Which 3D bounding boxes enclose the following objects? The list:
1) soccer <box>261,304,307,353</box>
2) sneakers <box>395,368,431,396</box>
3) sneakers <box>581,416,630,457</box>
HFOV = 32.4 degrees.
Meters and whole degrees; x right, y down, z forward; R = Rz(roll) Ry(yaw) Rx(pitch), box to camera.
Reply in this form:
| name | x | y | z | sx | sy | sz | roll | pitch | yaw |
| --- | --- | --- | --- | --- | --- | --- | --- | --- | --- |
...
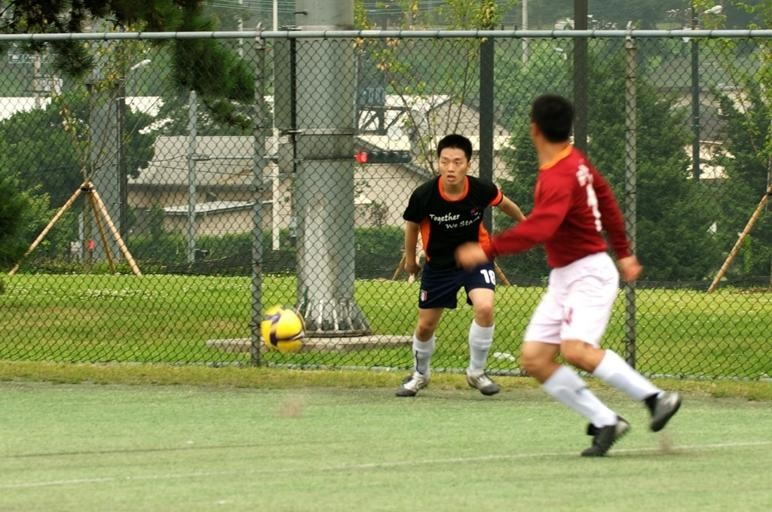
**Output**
| name | x | y | z | sx | sy | sz | roll | pitch | yaw |
| --- | --- | --- | --- | --- | --- | --- | --- | --- | --- |
| soccer | -0.988 | 0.780 | 13.786 | 0.460 | 0.438 | 0.519 | -3 | -24 | 7 |
| sneakers | 0.274 | 1.381 | 14.100 | 0.162 | 0.193 | 0.467 | 5 | 7 | 39 |
| sneakers | 2.043 | 1.709 | 12.417 | 0.417 | 0.195 | 0.138 | -40 | 10 | 6 |
